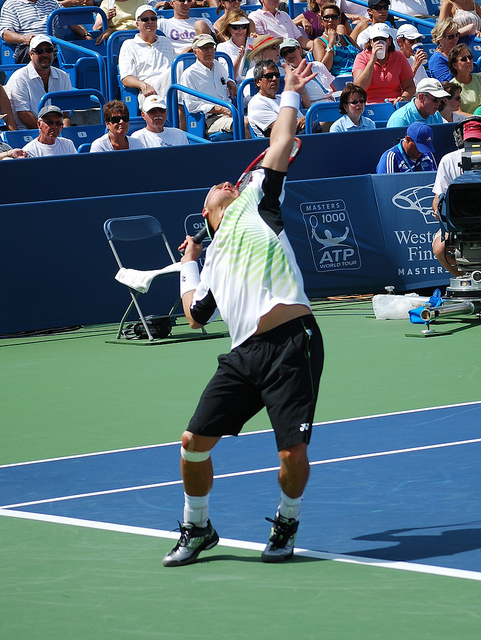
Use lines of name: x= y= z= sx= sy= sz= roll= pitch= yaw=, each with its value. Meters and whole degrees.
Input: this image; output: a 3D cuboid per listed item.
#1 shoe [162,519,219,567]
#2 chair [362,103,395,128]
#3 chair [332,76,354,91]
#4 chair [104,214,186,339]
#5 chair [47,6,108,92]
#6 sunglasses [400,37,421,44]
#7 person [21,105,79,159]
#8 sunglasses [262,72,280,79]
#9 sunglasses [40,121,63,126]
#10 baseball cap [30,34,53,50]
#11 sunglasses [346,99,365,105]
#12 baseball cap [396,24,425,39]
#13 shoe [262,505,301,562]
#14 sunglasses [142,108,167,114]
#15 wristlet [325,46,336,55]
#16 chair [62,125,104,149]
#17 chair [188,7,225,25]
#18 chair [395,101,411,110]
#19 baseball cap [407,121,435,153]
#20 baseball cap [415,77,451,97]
shoe: x=-0.200 y=0.832 z=2.658 sx=0.105 sy=0.134 sz=0.296 roll=-4 pitch=6 yaw=33
chair: x=2.467 y=-3.752 z=12.623 sx=0.682 sy=0.547 sz=0.511 roll=0 pitch=17 yaw=-5
chair: x=1.974 y=-4.551 z=13.491 sx=0.496 sy=0.310 sz=0.229 roll=-8 pitch=13 yaw=-27
chair: x=-0.987 y=-0.564 z=8.334 sx=1.053 sy=1.213 sz=0.992 roll=-15 pitch=23 yaw=-35
chair: x=-2.858 y=-4.930 z=12.648 sx=1.047 sy=1.658 sz=1.497 roll=-6 pitch=12 yaw=-11
sunglasses: x=3.433 y=-5.662 z=14.190 sx=0.394 sy=0.112 sz=0.131 roll=-7 pitch=12 yaw=-25
person: x=-2.642 y=-2.606 z=9.871 sx=0.609 sy=0.741 sz=0.972 roll=11 pitch=20 yaw=40
sunglasses: x=0.499 y=-3.748 z=10.768 sx=0.267 sy=0.093 sz=0.104 roll=-7 pitch=12 yaw=-25
sunglasses: x=-2.523 y=-2.712 z=9.680 sx=0.207 sy=0.056 sz=0.088 roll=-12 pitch=14 yaw=-42
baseball cap: x=-3.080 y=-4.341 z=10.932 sx=0.328 sy=0.251 sz=0.366 roll=-6 pitch=11 yaw=-12
sunglasses: x=1.813 y=-3.427 z=11.021 sx=0.280 sy=0.081 sz=0.058 roll=-6 pitch=12 yaw=-20
baseball cap: x=3.374 y=-5.834 z=14.170 sx=0.337 sy=0.216 sz=0.495 roll=-12 pitch=15 yaw=-44
shoe: x=0.162 y=0.809 z=2.630 sx=0.094 sy=0.186 sz=0.202 roll=6 pitch=15 yaw=36
sunglasses: x=-1.174 y=-3.068 z=10.309 sx=0.292 sy=0.076 sz=0.113 roll=-11 pitch=14 yaw=-40
wristlet: x=1.769 y=-5.358 z=13.943 sx=0.178 sy=0.060 sz=0.130 roll=30 pitch=16 yaw=29
chair: x=-2.386 y=-2.788 z=10.712 sx=0.716 sy=0.375 sz=0.451 roll=-8 pitch=19 yaw=-15
chair: x=-0.754 y=-6.171 z=14.120 sx=0.608 sy=0.327 sz=0.367 roll=-6 pitch=12 yaw=-15
chair: x=2.916 y=-3.914 z=12.716 sx=0.282 sy=0.215 sz=0.196 roll=3 pitch=27 yaw=6
baseball cap: x=2.566 y=-2.584 z=9.944 sx=0.509 sy=0.418 sz=0.247 roll=-13 pitch=16 yaw=-42
baseball cap: x=2.940 y=-3.609 z=10.878 sx=0.504 sy=0.212 sz=0.288 roll=7 pitch=23 yaw=5
